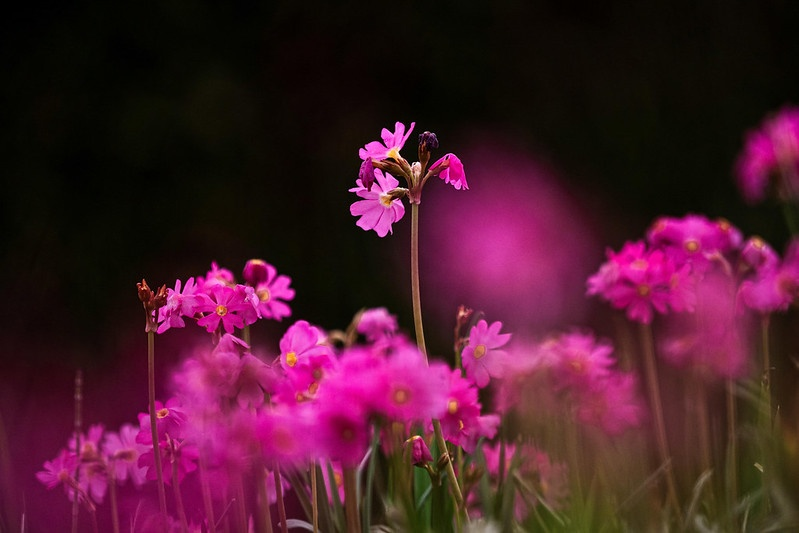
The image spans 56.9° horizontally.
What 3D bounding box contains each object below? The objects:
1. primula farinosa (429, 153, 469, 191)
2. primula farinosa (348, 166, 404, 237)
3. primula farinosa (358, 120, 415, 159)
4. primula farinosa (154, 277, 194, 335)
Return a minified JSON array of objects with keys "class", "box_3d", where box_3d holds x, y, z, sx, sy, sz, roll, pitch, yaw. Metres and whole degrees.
[{"class":"primula farinosa","box_3d":[0.125,-0.243,1.805,0.077,0.057,0.092,12,13,6]},{"class":"primula farinosa","box_3d":[-0.054,-0.150,1.790,0.125,0.150,0.105,1,-28,-11]},{"class":"primula farinosa","box_3d":[-0.014,-0.311,1.810,0.127,0.053,0.127,-6,-3,41]},{"class":"primula farinosa","box_3d":[-0.525,0.096,1.786,0.102,0.125,0.067,18,-8,28]}]
